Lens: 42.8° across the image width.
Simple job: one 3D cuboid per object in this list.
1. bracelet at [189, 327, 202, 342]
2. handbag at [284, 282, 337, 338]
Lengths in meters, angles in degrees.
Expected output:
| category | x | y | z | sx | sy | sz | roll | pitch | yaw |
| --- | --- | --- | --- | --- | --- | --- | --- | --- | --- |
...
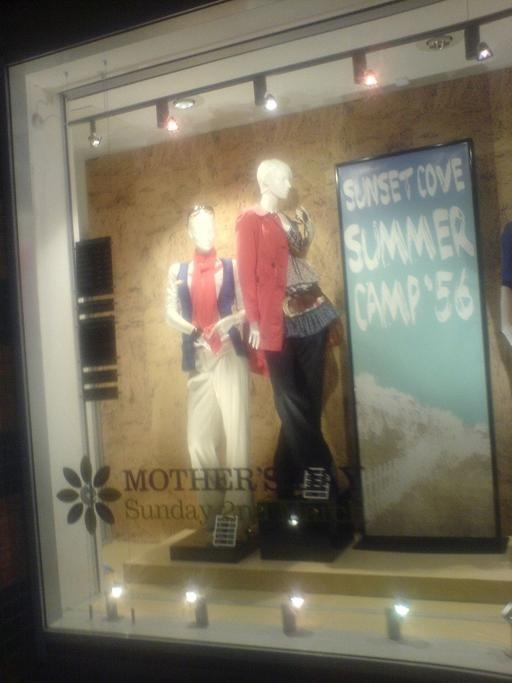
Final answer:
| category | x | y | z | sx | sy | sz | roll | pitch | yaw |
| --- | --- | --- | --- | --- | --- | --- | --- | --- | --- |
| bracelet | -0.211 | -0.025 | 2.304 | 0.038 | 0.030 | 0.037 | 8 | -12 | -38 |
| handbag | 0.172 | -0.118 | 2.178 | 0.134 | 0.089 | 0.178 | -14 | 22 | 3 |
